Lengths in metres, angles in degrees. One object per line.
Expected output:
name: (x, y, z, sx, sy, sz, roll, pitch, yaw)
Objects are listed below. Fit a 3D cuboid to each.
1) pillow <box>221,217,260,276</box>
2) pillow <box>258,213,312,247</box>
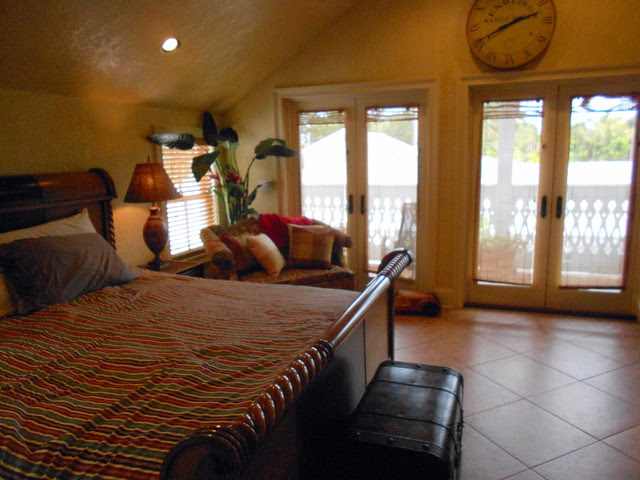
pillow: (-0.816, 0.086, 4.484, 0.143, 0.447, 0.490, -28, -9, 25)
pillow: (-0.405, -0.173, 4.759, 0.407, 0.120, 0.361, 20, 26, 22)
